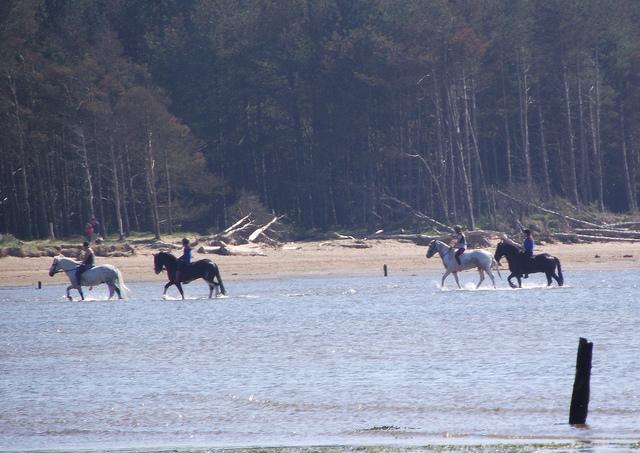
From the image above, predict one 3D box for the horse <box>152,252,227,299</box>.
[{"bbox_3d":[-8.636,3.431,84.683,5.575,3.094,1.290,2,1,26],"label":"horse"}]
